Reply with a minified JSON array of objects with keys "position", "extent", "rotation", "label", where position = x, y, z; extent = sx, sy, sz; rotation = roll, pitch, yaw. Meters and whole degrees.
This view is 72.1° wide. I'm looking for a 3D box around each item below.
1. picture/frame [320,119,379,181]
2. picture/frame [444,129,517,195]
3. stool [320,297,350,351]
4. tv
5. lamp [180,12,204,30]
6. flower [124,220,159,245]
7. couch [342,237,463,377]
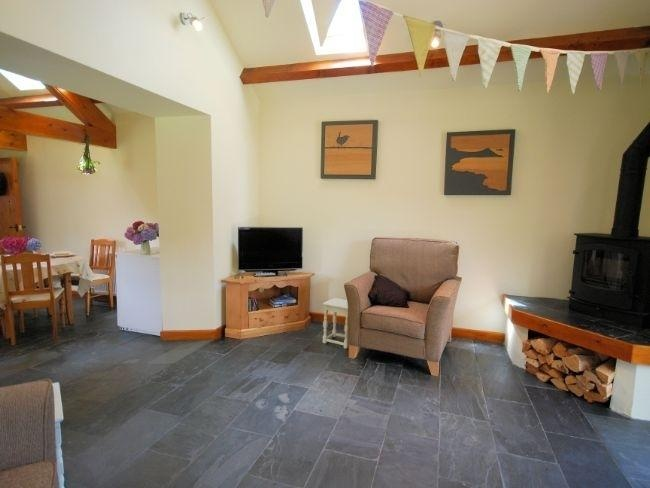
[{"position":[0.313,-1.203,5.177],"extent":[0.687,0.706,0.054],"rotation":[2,4,13],"label":"picture/frame"},{"position":[1.711,-0.977,4.801],"extent":[0.674,0.697,0.069],"rotation":[3,5,19],"label":"picture/frame"},{"position":[0.114,0.824,4.998],"extent":[0.408,0.515,0.418],"rotation":[2,1,25],"label":"stool"},{"position":[-0.662,0.024,5.126],"extent":[0.551,0.415,0.149],"rotation":[0,6,-12],"label":"tv"},{"position":[-1.266,-2.197,4.214],"extent":[0.202,0.144,0.108],"rotation":[12,16,-12],"label":"lamp"},{"position":[-2.129,-0.191,5.189],"extent":[0.340,0.273,0.430],"rotation":[-6,8,-40],"label":"flower"},{"position":[0.623,0.493,4.890],"extent":[1.402,1.685,1.244],"rotation":[2,2,23],"label":"couch"}]
